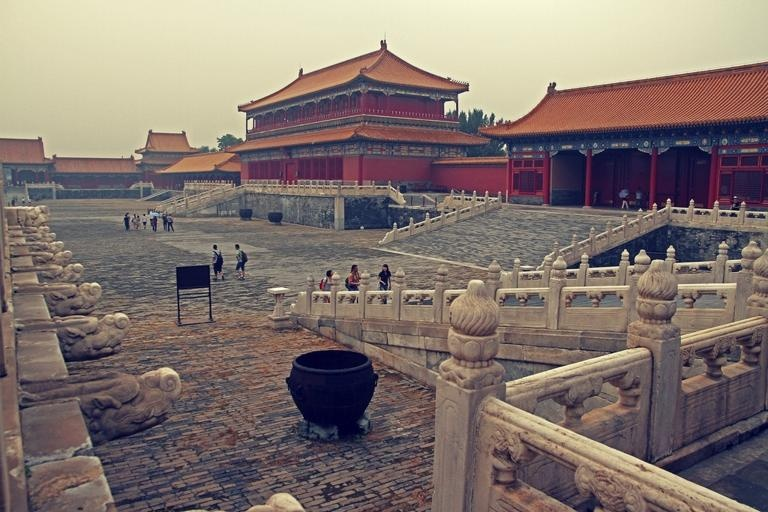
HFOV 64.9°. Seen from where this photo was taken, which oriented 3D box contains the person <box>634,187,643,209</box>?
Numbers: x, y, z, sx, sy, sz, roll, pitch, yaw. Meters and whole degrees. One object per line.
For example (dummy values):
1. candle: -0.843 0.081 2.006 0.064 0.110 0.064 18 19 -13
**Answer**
1. person: 11.925 -2.703 28.182 0.419 0.900 0.996 7 14 22
